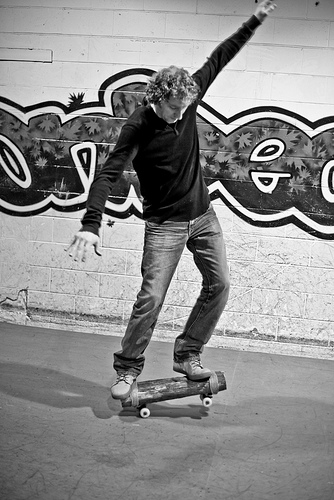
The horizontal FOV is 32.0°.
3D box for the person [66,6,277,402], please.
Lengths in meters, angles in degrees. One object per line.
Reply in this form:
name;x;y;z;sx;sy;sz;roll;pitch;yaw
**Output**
person;-0.055;-0.061;2.745;0.774;1.554;0.389;3;8;-14
